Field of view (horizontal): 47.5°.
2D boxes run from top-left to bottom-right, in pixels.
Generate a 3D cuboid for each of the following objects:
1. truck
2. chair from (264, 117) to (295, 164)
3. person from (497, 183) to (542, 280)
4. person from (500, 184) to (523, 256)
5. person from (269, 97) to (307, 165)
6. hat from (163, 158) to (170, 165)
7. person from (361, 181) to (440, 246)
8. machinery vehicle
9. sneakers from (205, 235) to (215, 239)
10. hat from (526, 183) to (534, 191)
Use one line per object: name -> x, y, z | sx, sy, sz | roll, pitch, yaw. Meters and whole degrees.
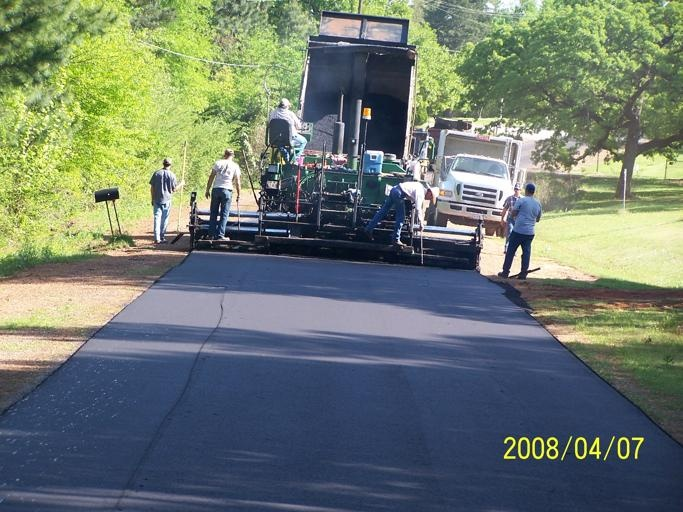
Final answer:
truck -> 4.504, -2.427, 26.072 | 2.702, 3.850, 6.495 | 8, 1, 7
chair -> -1.298, -2.461, 16.517 | 0.583, 0.910, 0.461 | 1, 12, -5
person -> 3.891, -0.553, 16.819 | 0.638, 2.108, 0.600 | 8, 2, -9
person -> 4.388, -0.983, 19.750 | 0.656, 1.770, 0.486 | -3, -17, 42
person -> -1.176, -2.693, 16.980 | 0.722, 1.580, 0.710 | 3, 13, 16
hat -> -3.968, -2.135, 17.600 | 0.114, 0.178, 0.166 | 0, 19, -4
person -> 1.225, -0.874, 15.985 | 1.240, 1.439, 0.782 | 15, 5, -3
machinery vehicle -> 0.552, -2.741, 20.002 | 4.349, 5.064, 8.436 | 5, 1, 4
sneakers -> -2.719, -0.374, 16.280 | 0.167, 0.109, 0.043 | 4, -5, 17
hat -> 4.018, -1.454, 16.480 | 0.130, 0.206, 0.189 | 3, 21, 4
